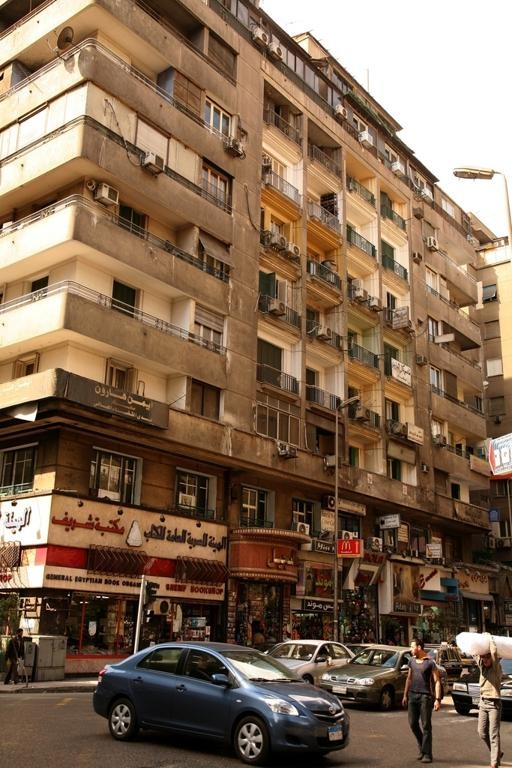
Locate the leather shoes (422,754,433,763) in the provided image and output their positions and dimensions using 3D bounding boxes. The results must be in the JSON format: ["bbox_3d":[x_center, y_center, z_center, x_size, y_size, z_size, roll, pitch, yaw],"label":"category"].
[{"bbox_3d":[1.891,4.133,7.416,0.056,0.080,0.184,-2,-32,12],"label":"leather shoes"}]

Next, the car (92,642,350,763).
[{"bbox_3d":[-0.355,3.353,7.563,2.536,1.065,1.297,-13,-31,33],"label":"car"}]

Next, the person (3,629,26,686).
[{"bbox_3d":[-5.890,6.644,16.421,0.416,1.243,1.021,7,-21,-18],"label":"person"}]
